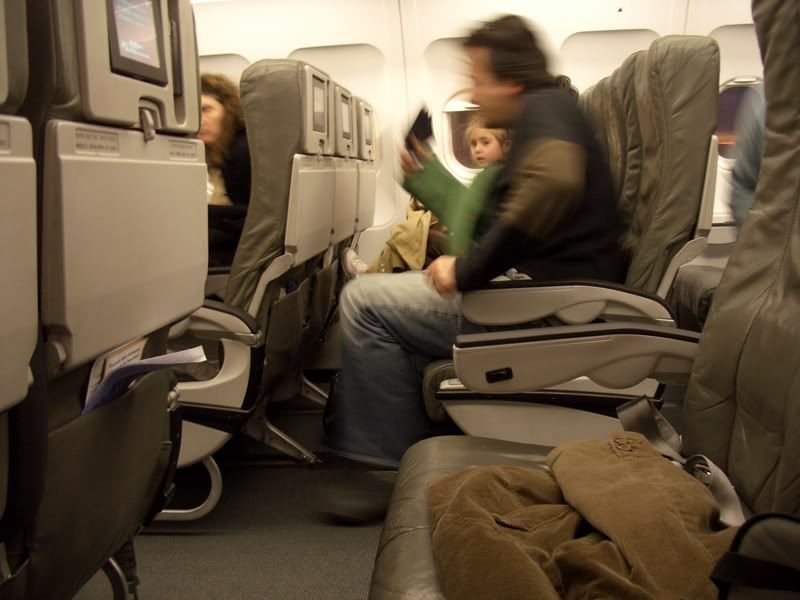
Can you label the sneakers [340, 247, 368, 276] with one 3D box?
[{"bbox_3d":[-0.259,-0.196,3.453,0.107,0.072,0.182,-8,45,-32],"label":"sneakers"}]
